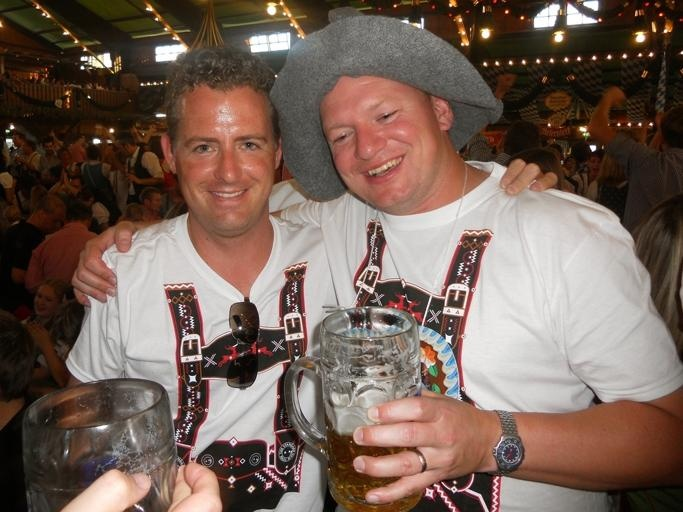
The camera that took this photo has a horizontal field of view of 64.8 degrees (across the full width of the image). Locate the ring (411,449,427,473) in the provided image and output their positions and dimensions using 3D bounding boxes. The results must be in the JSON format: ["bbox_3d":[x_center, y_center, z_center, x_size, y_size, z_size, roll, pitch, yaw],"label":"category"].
[{"bbox_3d":[0.183,0.461,1.221,0.013,0.046,0.049,-12,-16,-16],"label":"ring"}]
